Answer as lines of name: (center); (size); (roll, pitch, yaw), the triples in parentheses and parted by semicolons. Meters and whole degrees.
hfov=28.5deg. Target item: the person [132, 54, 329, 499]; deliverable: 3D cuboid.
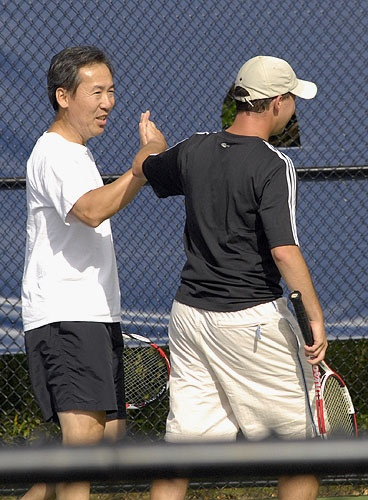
person: (0.144, 0.129, 2.286); (0.510, 0.953, 0.600); (-6, 25, -3)

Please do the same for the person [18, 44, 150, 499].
person: (-0.332, 0.063, 2.391); (0.454, 1.360, 0.904); (-7, 25, -3)
